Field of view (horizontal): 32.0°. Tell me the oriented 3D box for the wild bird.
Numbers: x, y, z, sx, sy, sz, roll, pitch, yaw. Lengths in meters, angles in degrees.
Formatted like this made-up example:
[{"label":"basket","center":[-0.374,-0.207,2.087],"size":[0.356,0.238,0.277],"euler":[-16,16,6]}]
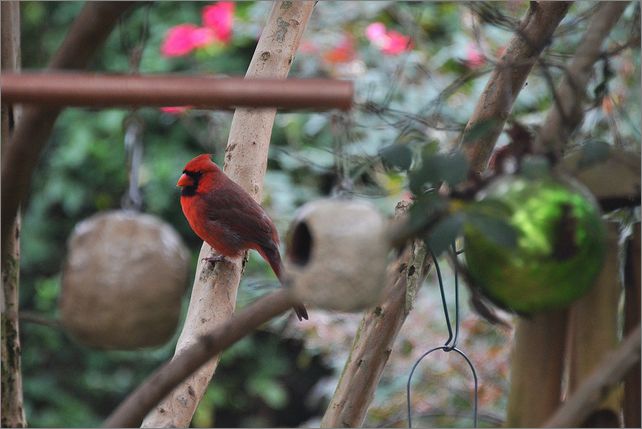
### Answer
[{"label":"wild bird","center":[-0.429,0.052,5.709],"size":[0.618,0.689,0.852],"euler":[8,25,-10]}]
